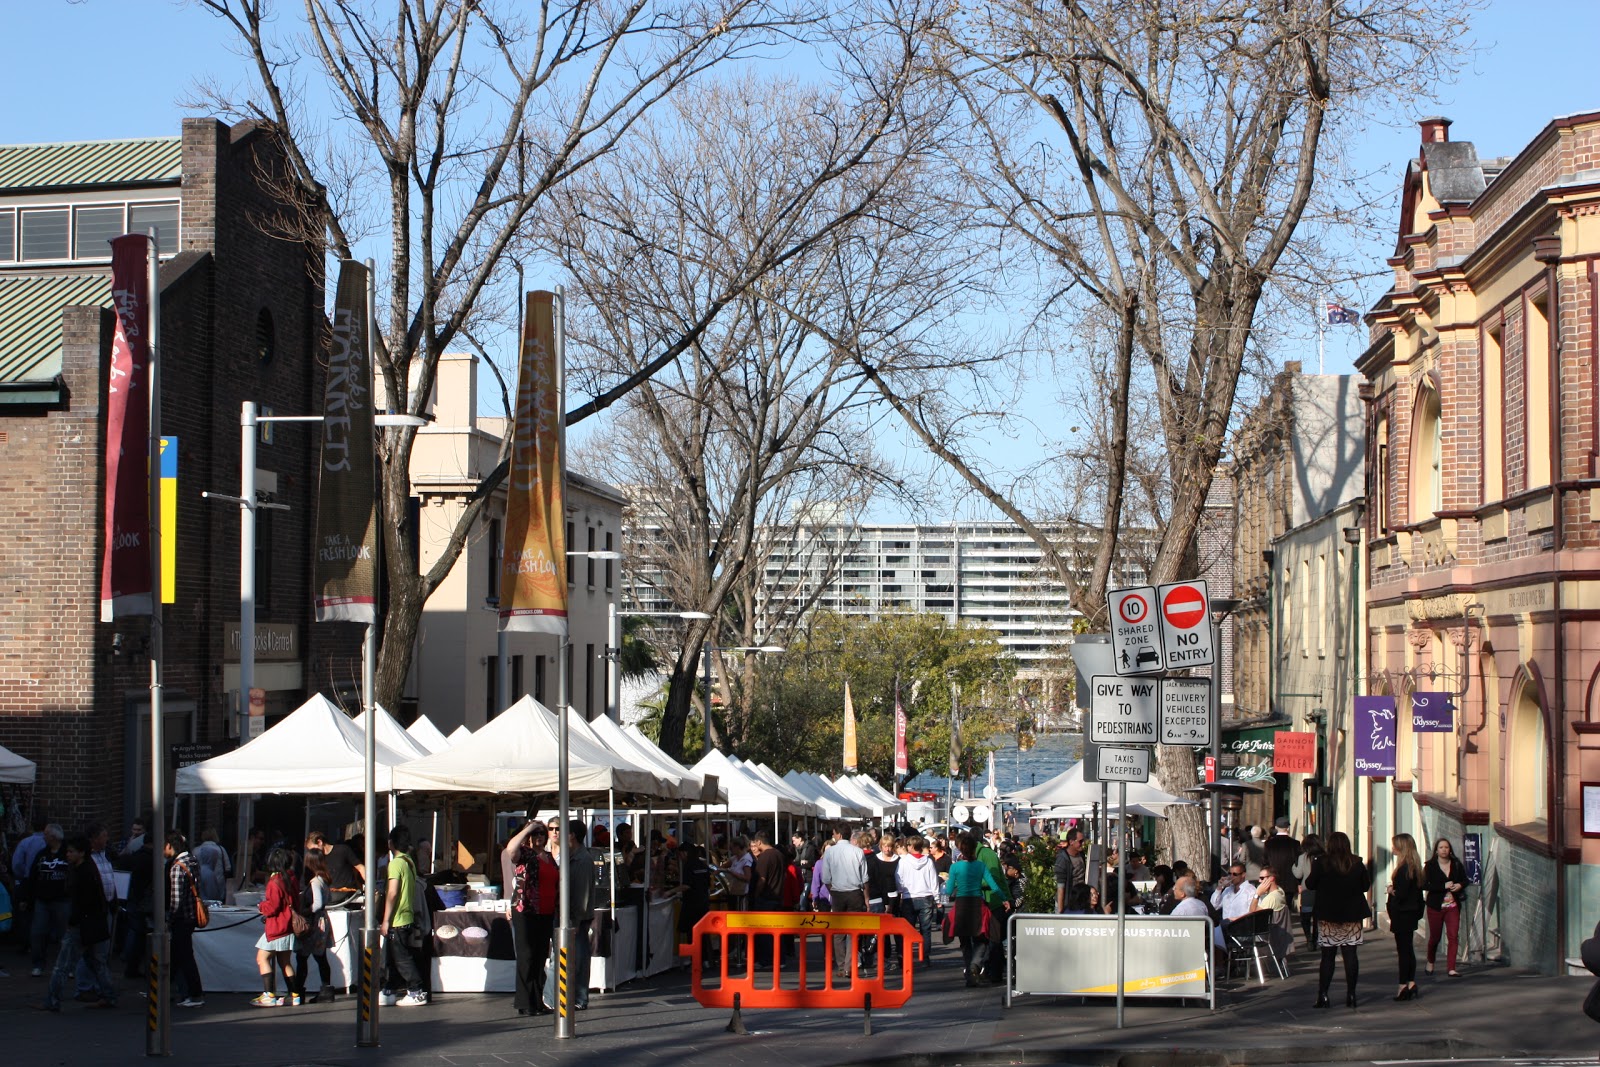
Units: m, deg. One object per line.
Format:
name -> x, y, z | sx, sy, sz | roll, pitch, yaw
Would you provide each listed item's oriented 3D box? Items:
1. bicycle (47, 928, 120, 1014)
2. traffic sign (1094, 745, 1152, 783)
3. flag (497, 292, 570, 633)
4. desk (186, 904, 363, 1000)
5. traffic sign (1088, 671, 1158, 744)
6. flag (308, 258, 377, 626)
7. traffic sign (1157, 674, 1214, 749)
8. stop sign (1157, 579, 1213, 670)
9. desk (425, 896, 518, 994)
bicycle -> -10.856, 6.662, 41.809 | 0.974, 1.207, 1.712 | 2, -13, -14
traffic sign -> 4.744, 3.377, 40.467 | 0.698, 0.565, 0.820 | -6, -13, 17
flag -> -4.053, -0.952, 42.674 | 1.527, 5.595, 1.257 | 0, 0, 3
desk -> -8.537, 6.584, 44.154 | 2.731, 1.519, 0.944 | -2, 4, 8
traffic sign -> 4.764, 2.541, 40.262 | 0.868, 0.998, 0.128 | 1, -5, 4
flag -> -7.657, -1.514, 46.861 | 1.030, 6.176, 1.136 | 1, -11, -11
traffic sign -> 5.684, 2.582, 40.628 | 0.896, 1.203, 0.114 | -1, -1, 0
stop sign -> 5.671, 1.340, 40.335 | 0.754, 1.496, 0.065 | -6, -34, 9
desk -> -5.073, 6.525, 43.774 | 1.189, 1.211, 1.309 | 0, -2, 6
